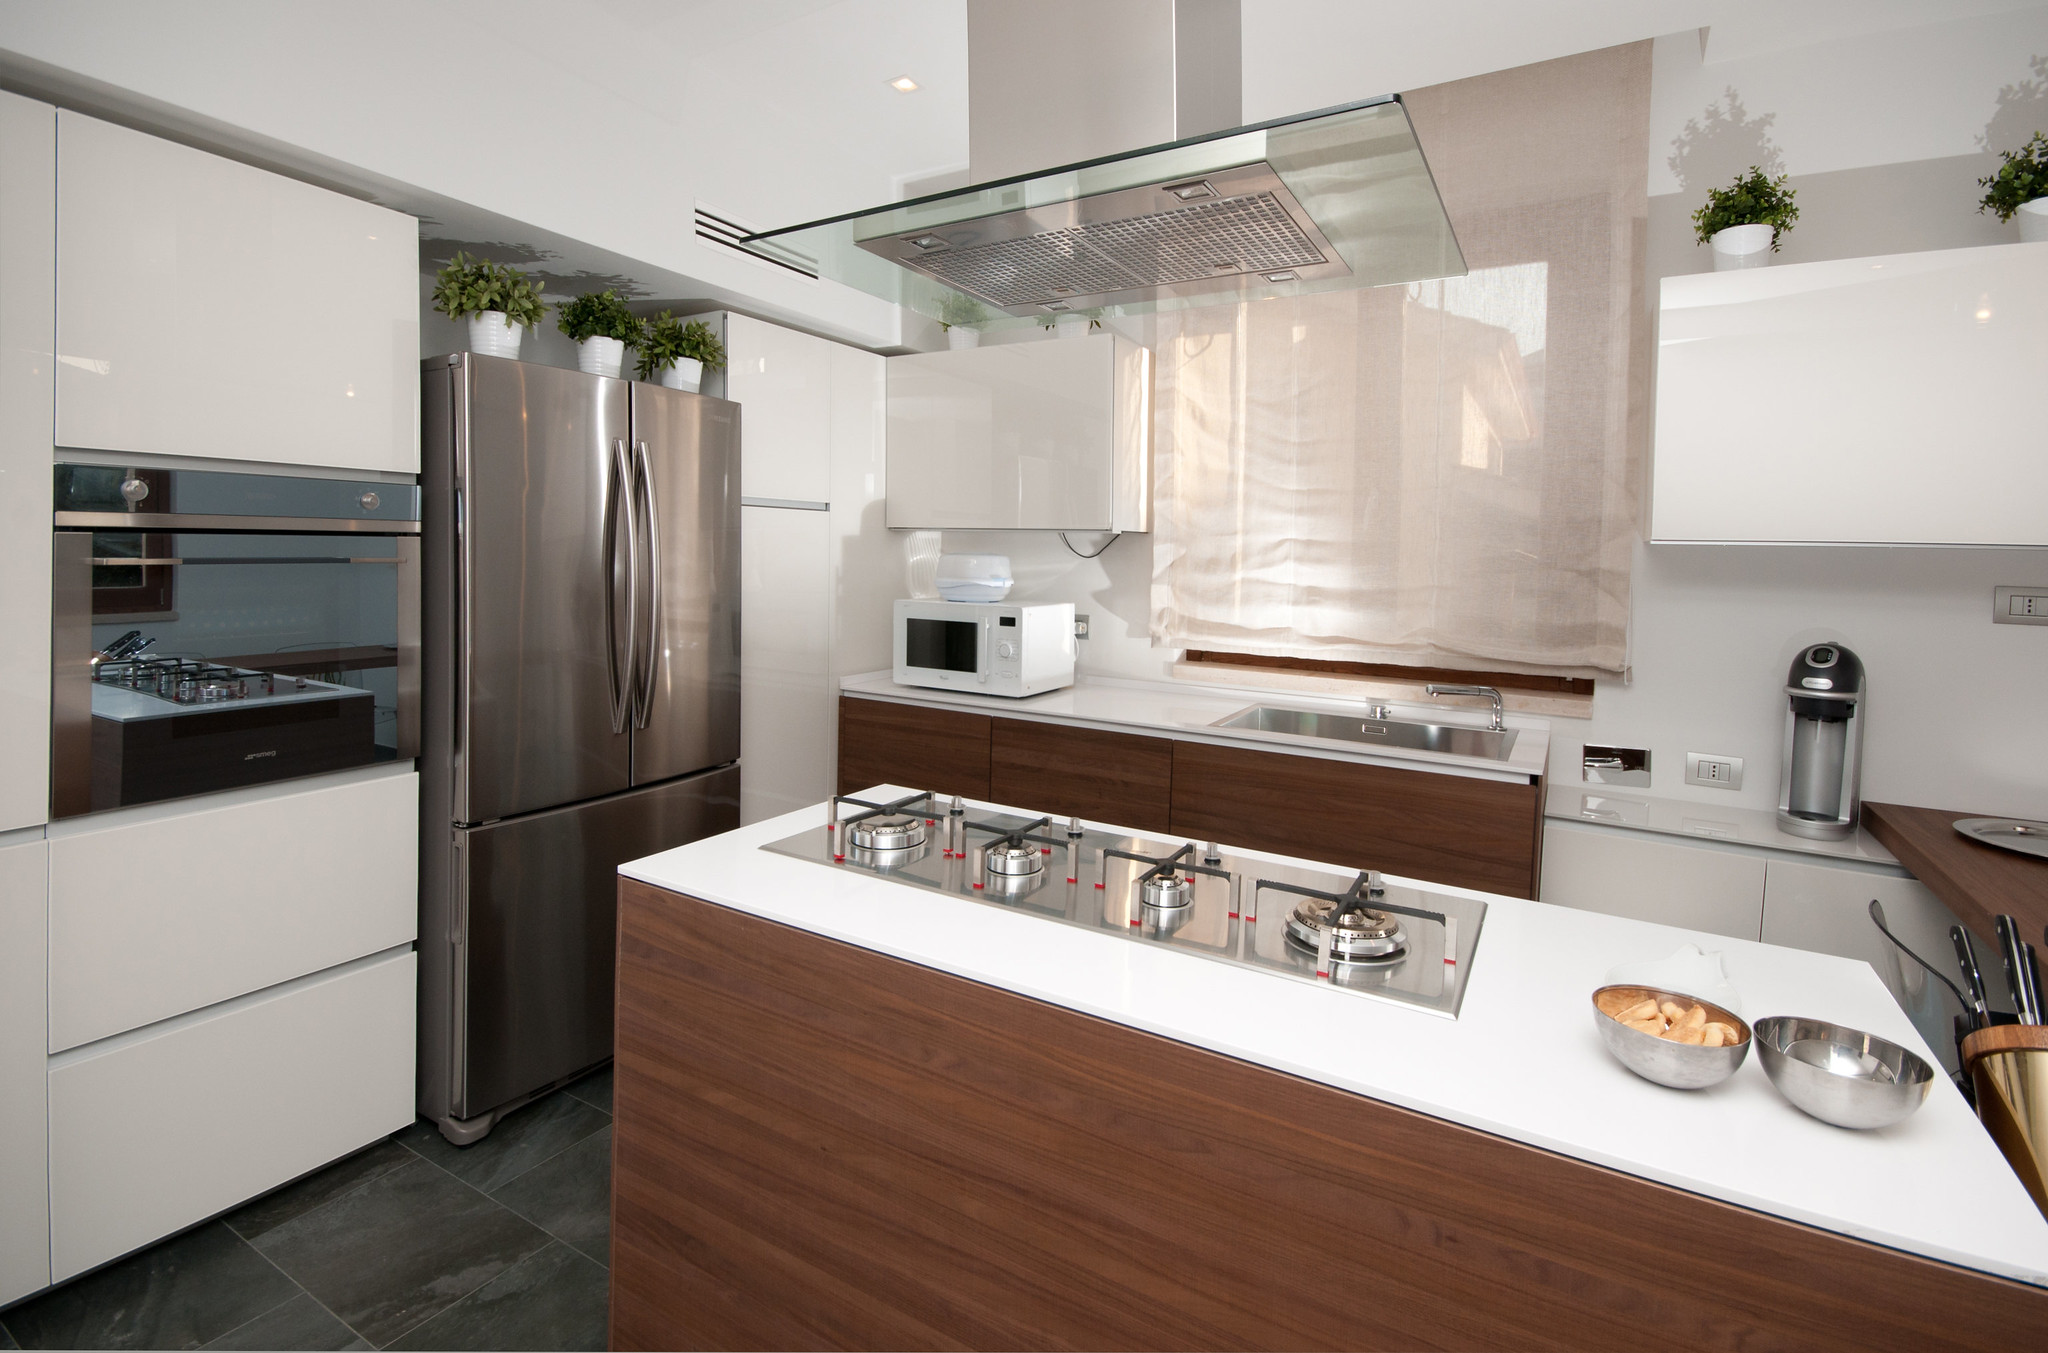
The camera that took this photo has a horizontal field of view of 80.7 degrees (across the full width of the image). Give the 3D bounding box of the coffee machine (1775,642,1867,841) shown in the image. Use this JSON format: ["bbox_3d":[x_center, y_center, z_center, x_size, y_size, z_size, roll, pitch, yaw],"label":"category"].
[{"bbox_3d":[2.537,0.197,3.837,0.240,0.592,0.235,7,10,31],"label":"coffee machine"}]

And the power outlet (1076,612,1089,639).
[{"bbox_3d":[0.253,-0.215,5.191,0.070,0.106,0.016,5,9,21],"label":"power outlet"}]

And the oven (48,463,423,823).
[{"bbox_3d":[-2.108,-0.107,3.574,0.988,0.853,0.646,-1,-7,-6],"label":"oven"}]

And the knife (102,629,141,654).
[{"bbox_3d":[-2.348,-0.083,3.154,0.084,0.073,0.013,-7,12,-42],"label":"knife"}]

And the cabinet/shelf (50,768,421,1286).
[{"bbox_3d":[-2.300,0.924,3.991,1.115,1.549,1.206,-2,-1,34],"label":"cabinet/shelf"}]

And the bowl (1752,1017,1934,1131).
[{"bbox_3d":[1.562,0.782,2.316,0.281,0.154,0.264,1,10,0],"label":"bowl"}]

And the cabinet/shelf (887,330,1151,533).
[{"bbox_3d":[0.010,-0.990,4.900,0.905,0.593,0.457,3,5,27],"label":"cabinet/shelf"}]

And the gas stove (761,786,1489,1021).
[{"bbox_3d":[0.257,0.488,2.923,1.592,0.245,0.491,4,9,21],"label":"gas stove"}]

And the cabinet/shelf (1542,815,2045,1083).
[{"bbox_3d":[1.970,0.672,2.995,0.780,0.671,0.247,1,-1,32],"label":"cabinet/shelf"}]

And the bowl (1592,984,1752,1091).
[{"bbox_3d":[1.274,0.725,2.385,0.271,0.122,0.258,2,9,0],"label":"bowl"}]

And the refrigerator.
[{"bbox_3d":[-1.481,0.183,3.986,0.343,2.360,1.073,8,11,38],"label":"refrigerator"}]
